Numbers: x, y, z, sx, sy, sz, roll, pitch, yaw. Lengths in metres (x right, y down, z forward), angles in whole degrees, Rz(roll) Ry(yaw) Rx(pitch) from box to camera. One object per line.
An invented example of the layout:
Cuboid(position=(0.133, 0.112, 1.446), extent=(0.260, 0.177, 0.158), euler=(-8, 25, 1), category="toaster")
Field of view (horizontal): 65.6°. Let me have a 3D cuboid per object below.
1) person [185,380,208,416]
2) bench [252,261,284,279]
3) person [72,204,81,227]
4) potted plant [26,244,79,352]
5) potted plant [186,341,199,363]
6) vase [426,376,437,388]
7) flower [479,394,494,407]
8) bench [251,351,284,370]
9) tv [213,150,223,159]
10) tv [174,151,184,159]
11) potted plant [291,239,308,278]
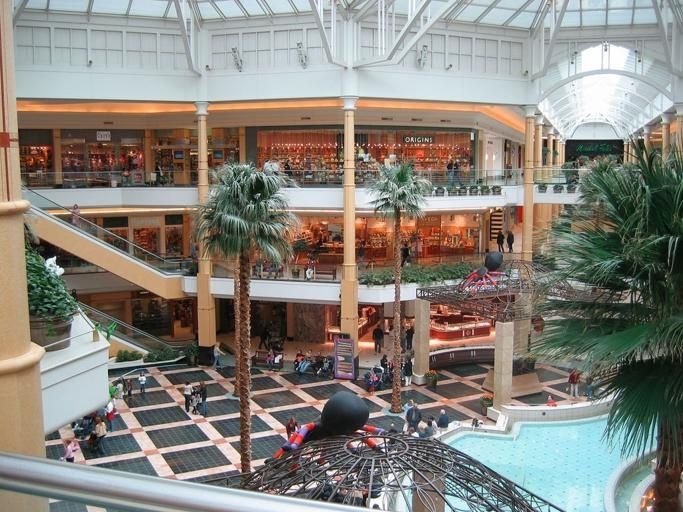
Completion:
Cuboid(position=(-5.616, 5.492, 20.354), extent=(1.025, 1.148, 0.509), euler=(1, 7, 33), category="person")
Cuboid(position=(-3.677, 0.664, 26.002), extent=(1.719, 0.871, 0.442), euler=(1, 7, 32), category="bench")
Cuboid(position=(-12.753, -1.914, 25.268), extent=(0.396, 1.055, 1.587), euler=(-6, 6, -26), category="person")
Cuboid(position=(-5.233, 0.784, 9.278), extent=(1.090, 1.452, 1.052), euler=(8, -3, -17), category="potted plant")
Cuboid(position=(-7.490, 4.942, 26.452), extent=(0.631, 0.970, 0.434), euler=(-5, 6, -17), category="potted plant")
Cuboid(position=(4.043, 5.559, 23.429), extent=(0.509, 0.489, 0.488), euler=(-1, -2, 1), category="vase")
Cuboid(position=(5.723, 5.688, 20.807), extent=(0.596, 0.364, 0.586), euler=(0, 1, 11), category="flower")
Cuboid(position=(-3.643, 5.068, 25.798), extent=(1.947, 0.748, 1.005), euler=(1, 2, 33), category="bench")
Cuboid(position=(-7.226, -5.893, 30.806), extent=(0.667, 0.537, 0.142), euler=(1, 7, 34), category="tv")
Cuboid(position=(-9.825, -6.018, 31.769), extent=(0.554, 0.492, 0.112), euler=(-3, 6, -3), category="tv")
Cuboid(position=(-2.077, 0.118, 26.533), extent=(0.830, 1.670, 1.982), euler=(-3, 6, -4), category="potted plant")
